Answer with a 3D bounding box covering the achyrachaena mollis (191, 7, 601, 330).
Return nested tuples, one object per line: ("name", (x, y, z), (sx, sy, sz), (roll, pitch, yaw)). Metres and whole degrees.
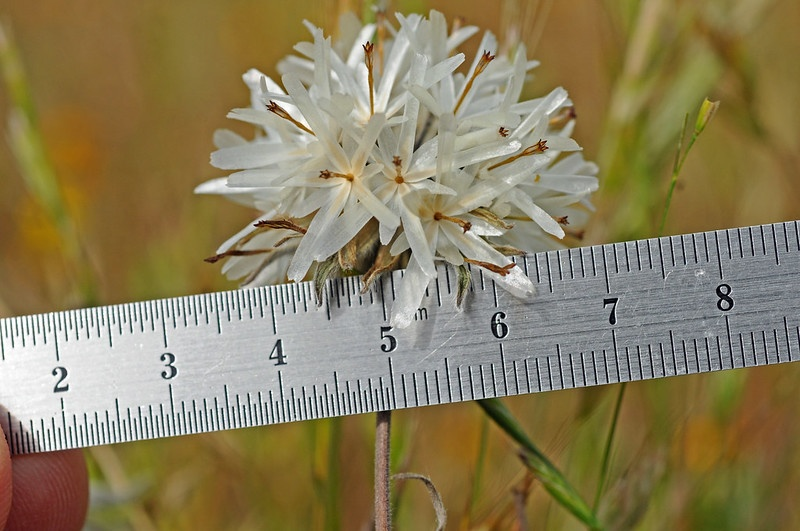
("achyrachaena mollis", (0.003, -0.202, 1.836), (0.649, 0.777, 0.419), (-2, -3, 2))
